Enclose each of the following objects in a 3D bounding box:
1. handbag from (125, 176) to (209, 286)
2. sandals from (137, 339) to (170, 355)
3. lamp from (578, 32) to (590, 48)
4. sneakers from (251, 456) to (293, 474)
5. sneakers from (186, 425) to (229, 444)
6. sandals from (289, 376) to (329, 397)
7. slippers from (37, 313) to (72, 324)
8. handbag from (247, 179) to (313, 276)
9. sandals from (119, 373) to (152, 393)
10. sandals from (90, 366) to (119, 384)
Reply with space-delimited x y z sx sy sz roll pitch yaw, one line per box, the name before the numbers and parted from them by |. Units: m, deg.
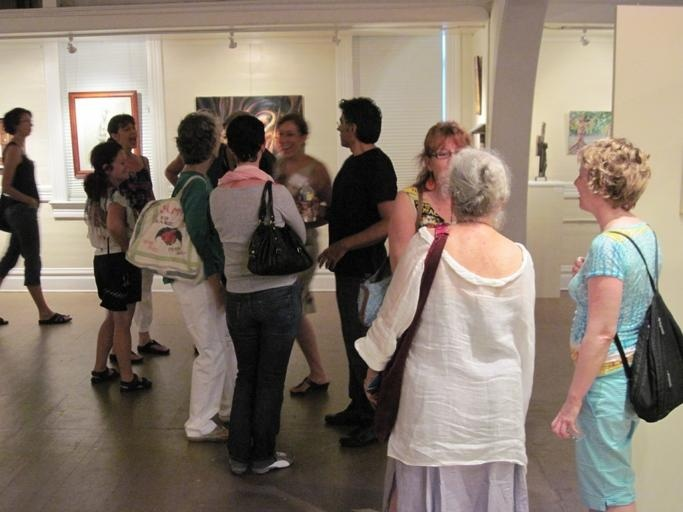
handbag | -1.100 -0.122 4.011 0.475 0.562 0.162 4 12 18
sandals | -1.712 0.824 5.830 0.255 0.105 0.139 0 0 2
lamp | 3.130 -2.793 8.219 0.103 0.105 0.093 -35 36 -4
sneakers | -0.420 1.254 3.850 0.210 0.087 0.093 -10 16 -37
sneakers | -0.859 1.169 4.199 0.295 0.118 0.104 2 -1 -7
sandals | -0.242 1.004 4.927 0.278 0.108 0.125 2 -5 -22
slippers | -3.033 0.661 6.770 0.237 0.083 0.130 -2 4 -17
handbag | -0.344 -0.155 3.563 0.339 0.505 0.171 0 12 0
sandals | -1.595 0.993 4.950 0.116 0.103 0.229 4 6 30
sandals | -1.894 0.953 5.152 0.093 0.095 0.243 5 7 29
